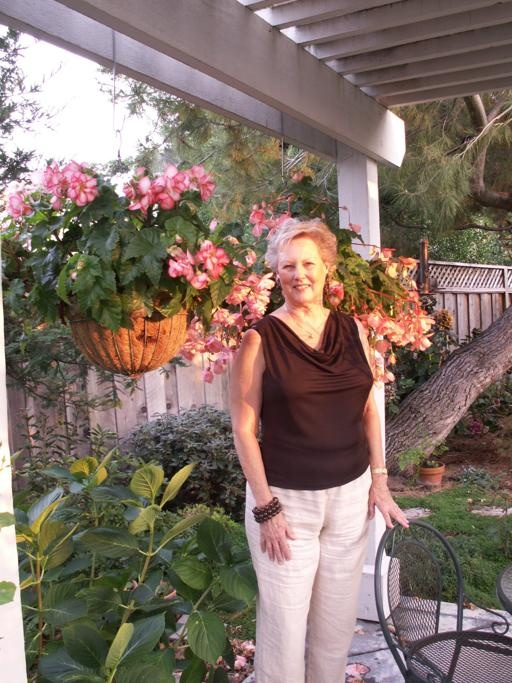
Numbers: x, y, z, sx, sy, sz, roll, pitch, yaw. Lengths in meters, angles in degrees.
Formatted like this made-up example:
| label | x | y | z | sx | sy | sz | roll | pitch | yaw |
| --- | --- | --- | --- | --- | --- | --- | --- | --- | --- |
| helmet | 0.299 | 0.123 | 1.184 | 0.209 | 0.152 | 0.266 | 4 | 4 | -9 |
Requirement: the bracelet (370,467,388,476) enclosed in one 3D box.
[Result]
| label | x | y | z | sx | sy | sz | roll | pitch | yaw |
| --- | --- | --- | --- | --- | --- | --- | --- | --- | --- |
| bracelet | 0.350 | 0.369 | 1.575 | 0.030 | 0.017 | 0.031 | -9 | -13 | 41 |

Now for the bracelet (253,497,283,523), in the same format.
| label | x | y | z | sx | sy | sz | roll | pitch | yaw |
| --- | --- | --- | --- | --- | --- | --- | --- | --- | --- |
| bracelet | 0.026 | 0.407 | 1.325 | 0.058 | 0.030 | 0.064 | -24 | 3 | 13 |

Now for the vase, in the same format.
| label | x | y | z | sx | sy | sz | roll | pitch | yaw |
| --- | --- | --- | --- | --- | --- | --- | --- | --- | --- |
| vase | -0.262 | -0.008 | 1.139 | 0.190 | 0.118 | 0.181 | -1 | 0 | 12 |

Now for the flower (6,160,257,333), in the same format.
| label | x | y | z | sx | sy | sz | roll | pitch | yaw |
| --- | --- | --- | --- | --- | --- | --- | --- | --- | --- |
| flower | -0.271 | -0.156 | 1.114 | 0.426 | 0.269 | 0.395 | -10 | 19 | -26 |

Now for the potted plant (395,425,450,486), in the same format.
| label | x | y | z | sx | sy | sz | roll | pitch | yaw |
| --- | --- | --- | --- | --- | --- | --- | --- | --- | --- |
| potted plant | 1.570 | 1.055 | 5.176 | 0.499 | 0.514 | 0.533 | -7 | -3 | 41 |

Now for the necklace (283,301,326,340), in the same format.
| label | x | y | z | sx | sy | sz | roll | pitch | yaw |
| --- | --- | --- | --- | --- | --- | --- | --- | --- | --- |
| necklace | 0.127 | -0.055 | 1.448 | 0.088 | 0.112 | 0.033 | -38 | 5 | 2 |
